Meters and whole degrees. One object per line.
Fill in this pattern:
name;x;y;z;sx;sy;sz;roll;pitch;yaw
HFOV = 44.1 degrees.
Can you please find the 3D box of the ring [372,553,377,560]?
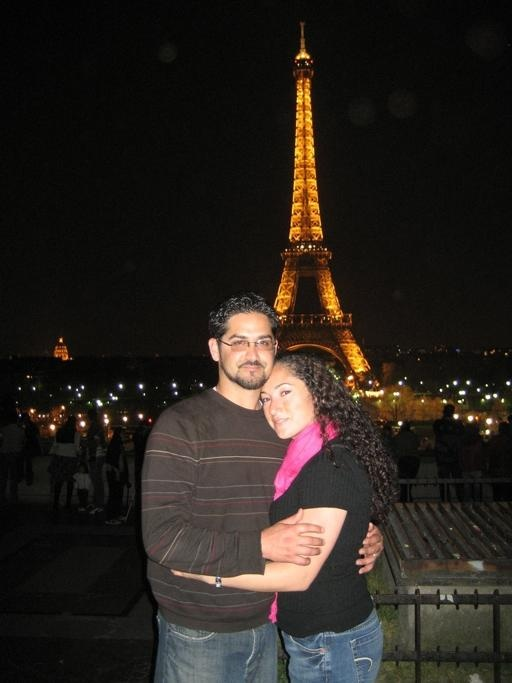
ring;0.594;1.084;3.164;0.029;0.036;0.010;-1;-1;-9
